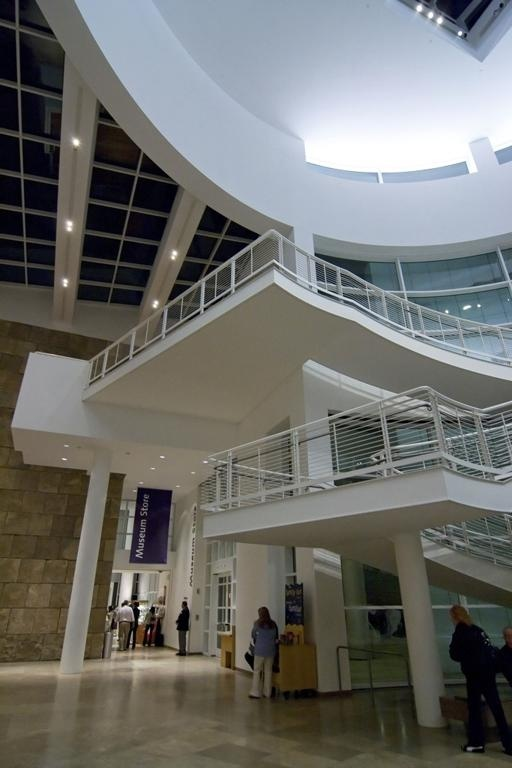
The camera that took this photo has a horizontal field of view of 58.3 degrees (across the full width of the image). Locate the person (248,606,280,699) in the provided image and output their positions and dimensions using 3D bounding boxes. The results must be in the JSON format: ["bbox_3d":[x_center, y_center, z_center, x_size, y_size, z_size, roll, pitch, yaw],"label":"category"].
[{"bbox_3d":[0.112,4.259,7.336,0.483,1.271,0.629,-2,-23,0],"label":"person"}]

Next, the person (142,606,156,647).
[{"bbox_3d":[-4.379,9.910,18.860,0.497,1.299,1.582,3,-24,-11],"label":"person"}]

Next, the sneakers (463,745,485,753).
[{"bbox_3d":[1.902,3.175,4.007,0.175,0.053,0.103,-7,-24,12],"label":"sneakers"}]

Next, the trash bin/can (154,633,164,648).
[{"bbox_3d":[-3.790,10.030,18.097,0.274,0.490,0.542,-14,-26,27],"label":"trash bin/can"}]
